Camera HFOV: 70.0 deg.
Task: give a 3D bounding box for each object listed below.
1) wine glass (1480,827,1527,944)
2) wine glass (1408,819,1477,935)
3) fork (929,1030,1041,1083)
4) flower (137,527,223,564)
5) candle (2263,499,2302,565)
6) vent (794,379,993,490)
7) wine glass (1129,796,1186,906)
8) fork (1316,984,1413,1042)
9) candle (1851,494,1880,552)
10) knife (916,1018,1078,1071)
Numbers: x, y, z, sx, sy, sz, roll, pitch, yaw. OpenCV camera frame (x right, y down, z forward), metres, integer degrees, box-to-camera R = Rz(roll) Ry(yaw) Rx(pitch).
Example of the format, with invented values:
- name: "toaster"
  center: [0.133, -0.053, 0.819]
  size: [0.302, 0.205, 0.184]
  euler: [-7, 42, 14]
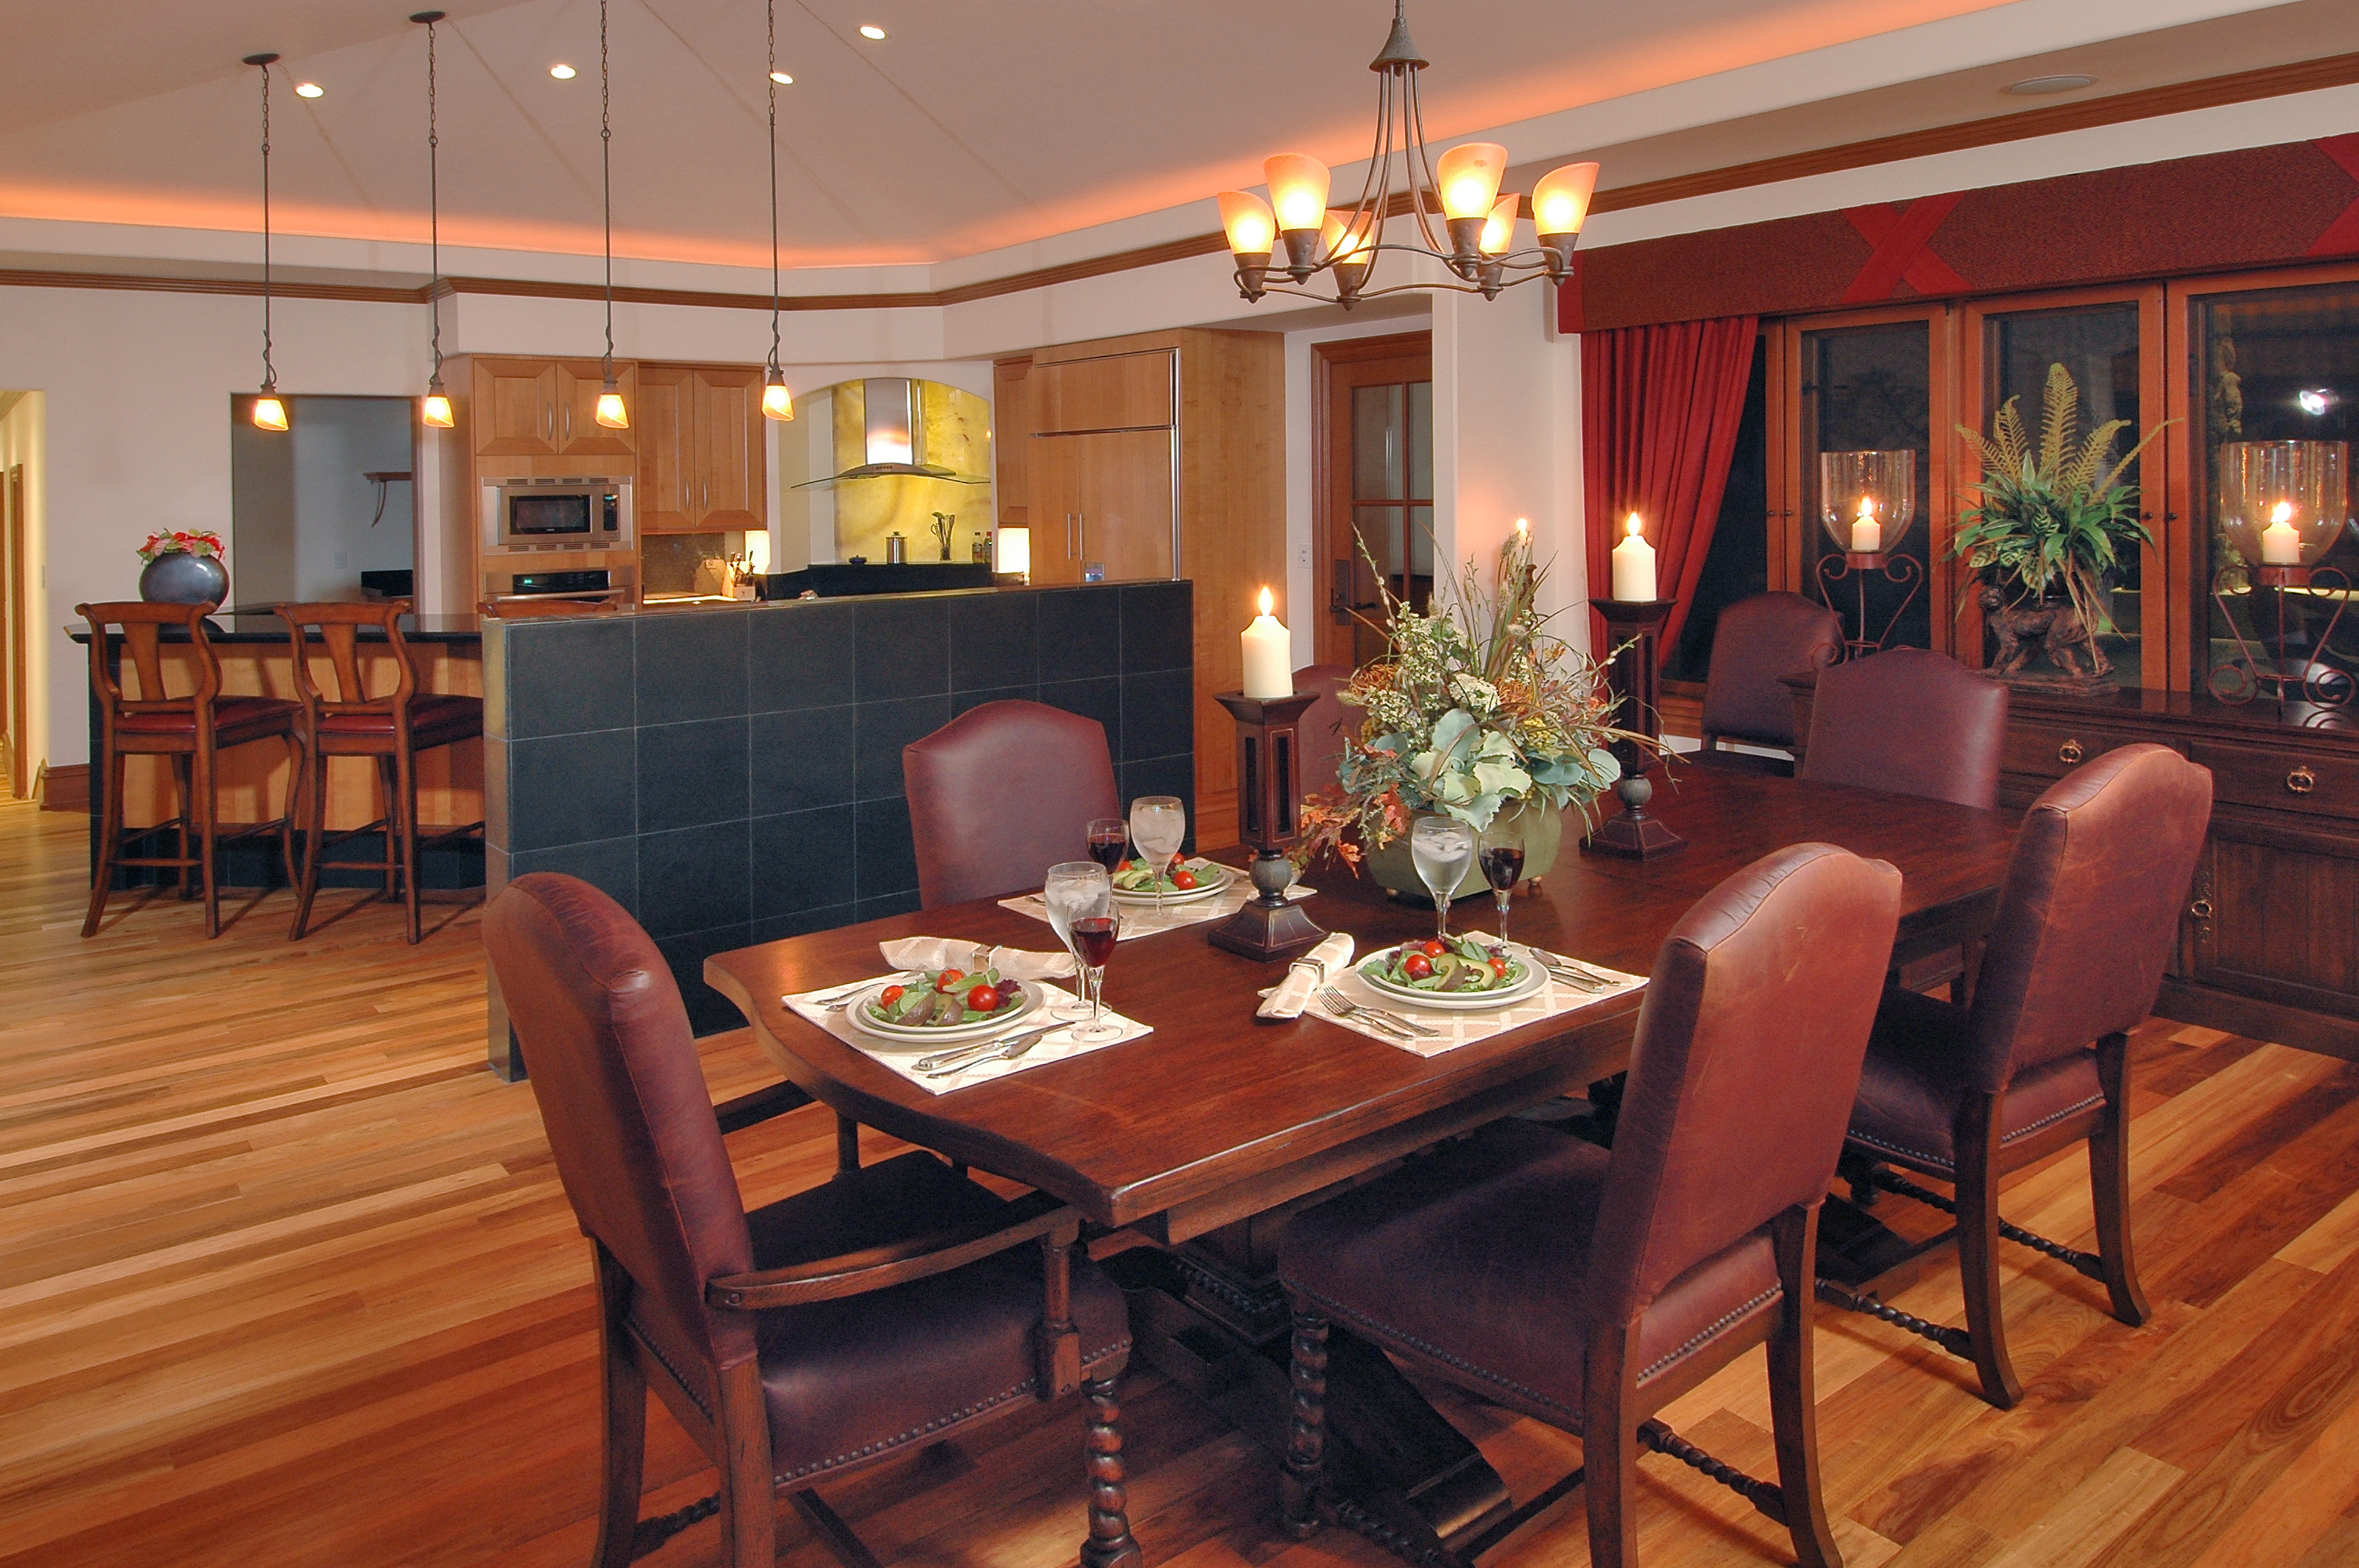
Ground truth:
- name: "wine glass"
  center: [0.697, 0.203, 3.643]
  size: [0.080, 0.223, 0.373]
  euler: [-2, 8, 10]
- name: "wine glass"
  center: [0.558, 0.189, 3.519]
  size: [0.110, 0.280, 0.400]
  euler: [-2, 9, 11]
- name: "fork"
  center: [-0.374, 0.505, 3.156]
  size: [0.303, 0.023, 0.068]
  euler: [-9, 26, -33]
- name: "flower"
  center: [-4.525, -1.072, 7.552]
  size: [0.333, 0.135, 0.321]
  euler: [6, 15, -7]
- name: "candle"
  center: [3.504, -0.801, 5.325]
  size: [0.110, 0.201, 0.138]
  euler: [3, 11, 36]
- name: "vent"
  center: [-1.606, -1.931, 9.285]
  size: [1.093, 0.658, 0.351]
  euler: [-2, -1, -11]
- name: "wine glass"
  center: [-0.055, 0.127, 3.743]
  size: [0.118, 0.243, 0.347]
  euler: [-4, 8, -2]
- name: "fork"
  center: [0.358, 0.447, 3.278]
  size: [0.061, 0.037, 0.226]
  euler: [-22, 26, -32]
- name: "candle"
  center: [2.467, -0.931, 6.026]
  size: [0.092, 0.197, 0.128]
  euler: [0, 9, 21]
- name: "knife"
  center: [-0.327, 0.485, 3.186]
  size: [0.381, 0.027, 0.079]
  euler: [-8, 21, -38]
